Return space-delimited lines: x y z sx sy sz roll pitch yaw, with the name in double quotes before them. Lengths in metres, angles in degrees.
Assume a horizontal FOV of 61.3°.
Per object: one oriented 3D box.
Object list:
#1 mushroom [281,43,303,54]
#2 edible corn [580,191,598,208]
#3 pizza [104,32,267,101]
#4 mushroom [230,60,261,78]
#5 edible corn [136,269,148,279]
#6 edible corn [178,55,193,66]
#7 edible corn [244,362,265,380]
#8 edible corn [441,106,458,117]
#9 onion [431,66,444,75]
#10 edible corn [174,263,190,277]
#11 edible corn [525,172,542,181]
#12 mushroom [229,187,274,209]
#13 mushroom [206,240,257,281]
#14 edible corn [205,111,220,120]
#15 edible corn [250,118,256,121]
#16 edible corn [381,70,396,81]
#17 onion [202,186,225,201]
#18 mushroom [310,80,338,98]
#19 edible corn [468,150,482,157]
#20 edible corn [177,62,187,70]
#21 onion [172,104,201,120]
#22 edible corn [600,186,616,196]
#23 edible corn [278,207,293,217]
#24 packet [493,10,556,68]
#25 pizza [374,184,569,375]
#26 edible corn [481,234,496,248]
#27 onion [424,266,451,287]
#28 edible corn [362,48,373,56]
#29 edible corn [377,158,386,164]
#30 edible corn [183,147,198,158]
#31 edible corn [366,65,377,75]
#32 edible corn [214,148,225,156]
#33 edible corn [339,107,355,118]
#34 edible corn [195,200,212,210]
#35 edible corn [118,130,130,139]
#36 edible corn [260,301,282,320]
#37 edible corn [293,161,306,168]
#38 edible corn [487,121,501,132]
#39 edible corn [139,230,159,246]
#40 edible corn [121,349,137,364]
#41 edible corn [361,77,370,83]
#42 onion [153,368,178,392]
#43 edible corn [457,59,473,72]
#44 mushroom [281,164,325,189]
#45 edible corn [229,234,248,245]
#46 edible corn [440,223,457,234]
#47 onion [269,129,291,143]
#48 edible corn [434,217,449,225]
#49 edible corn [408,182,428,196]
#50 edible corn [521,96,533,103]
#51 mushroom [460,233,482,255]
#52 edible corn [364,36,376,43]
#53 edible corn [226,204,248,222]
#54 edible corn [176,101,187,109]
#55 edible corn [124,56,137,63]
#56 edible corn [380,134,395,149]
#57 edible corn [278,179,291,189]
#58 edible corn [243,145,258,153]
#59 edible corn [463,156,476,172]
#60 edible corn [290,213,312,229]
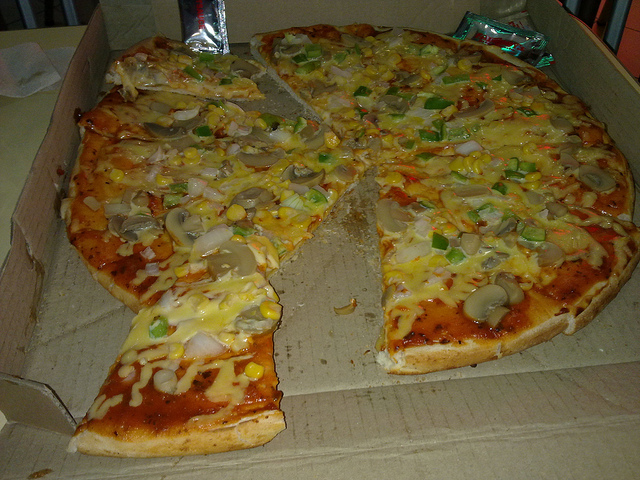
"mushroom" -0.141 -0.964 2.719 0.123 0.018 0.045 0 69 4
"edible corn" 1.023 -0.153 2.066 0.056 0.057 0.064 -9 28 44
"pizza" -0.619 -0.775 2.632 0.785 0.128 0.361 7 47 -6
"mushroom" -0.391 -0.851 2.714 0.131 0.035 0.121 38 60 8
"edible corn" -0.637 0.121 1.931 0.042 0.011 0.025 9 67 -5
"edible corn" -0.656 -0.880 2.640 0.087 0.018 0.051 1 66 -24
"edible corn" -0.212 0.416 1.733 0.058 0.038 0.050 3 41 4
"edible corn" 0.564 -0.569 2.376 0.063 0.055 0.020 -28 104 -9
"onion" 0.555 -0.807 2.576 0.057 0.015 0.040 16 77 7
"edible corn" -0.484 0.103 1.897 0.064 0.013 0.040 -1 48 -4
"edible corn" 0.831 -0.250 2.119 0.058 0.028 0.041 12 42 15
"mushroom" -0.266 -0.165 2.122 0.099 0.038 0.141 27 44 31
"mushroom" -0.309 0.068 1.899 0.193 0.048 0.126 -18 71 -14
"edible corn" -0.497 -0.552 2.410 0.061 0.014 0.033 -3 70 -2
"edible corn" -0.305 -0.545 2.442 0.033 0.005 0.019 1 45 -8
"edible corn" 0.322 -0.780 2.564 0.056 0.014 0.052 39 82 0
"onion" -0.418 -0.185 2.127 0.088 0.031 0.058 6 39 8
"mushroom" 0.012 -0.717 2.554 0.096 0.027 0.113 21 54 20
"edible corn" 0.630 -0.353 2.208 0.036 0.019 0.045 26 44 36
"edible corn" -0.672 -0.846 2.618 0.054 0.010 0.038 -6 51 -16
"onion" -0.599 -0.571 2.418 0.121 0.027 0.041 -18 77 3
"edible corn" 1.114 -0.191 2.094 0.049 0.032 0.010 -25 92 12
"edible corn" -0.137 -0.113 2.103 0.059 0.013 0.026 6 62 7
"packet" 0.976 -1.001 2.776 0.403 0.246 0.061 37 81 33
"pizza" 0.480 0.158 1.979 0.687 0.360 0.626 -6 40 -7
"edible corn" 0.620 0.003 1.974 0.064 0.013 0.038 -8 53 1
"onion" 0.417 0.126 1.904 0.070 0.028 0.083 40 76 24
"edible corn" 0.233 -0.927 2.666 0.064 0.015 0.038 -5 58 -4
"edible corn" 0.259 -0.337 2.299 0.040 0.007 0.022 2 68 3
"edible corn" -0.543 -0.366 2.252 0.072 0.026 0.047 -5 46 -10
"edible corn" 0.245 -0.813 2.589 0.061 0.014 0.047 -1 52 -2
"edible corn" -0.422 -0.368 2.264 0.040 0.010 0.034 -10 51 -11
"edible corn" 0.132 -0.581 2.468 0.089 0.019 0.053 -5 49 -4
"edible corn" -0.449 -0.134 2.084 0.060 0.017 0.042 -5 38 -7
"edible corn" -0.849 -0.459 2.343 0.031 0.012 0.049 41 54 8
"edible corn" -0.167 0.233 1.832 0.092 0.023 0.066 3 34 -27
"edible corn" -0.093 -0.313 2.247 0.032 0.007 0.035 -11 36 -35
"edible corn" 0.733 -0.484 2.297 0.058 0.023 0.048 8 65 20
"edible corn" -0.640 -0.007 2.021 0.084 0.020 0.045 10 74 3
"edible corn" -0.620 0.377 1.757 0.053 0.026 0.044 4 50 11
"edible corn" 0.213 -0.760 2.568 0.048 0.008 0.028 4 55 4
"onion" -0.486 0.436 1.697 0.099 0.039 0.055 6 73 -6
"edible corn" 0.686 -0.830 2.570 0.084 0.033 0.051 -11 62 -4
"mushroom" -0.065 -0.252 2.204 0.146 0.047 0.106 -15 48 -6
"edible corn" -0.295 0.001 1.993 0.060 0.028 0.035 25 49 -5
"edible corn" 0.474 -0.045 2.006 0.056 0.011 0.038 2 41 10
"onion" -0.178 -0.460 2.369 0.072 0.020 0.067 34 56 12
"edible corn" 0.465 -0.072 2.029 0.036 0.006 0.027 -15 43 -18
"edible corn" 0.389 -0.205 2.154 0.061 0.013 0.059 31 56 34
"edible corn" 0.913 -0.624 2.395 0.048 0.010 0.033 1 38 -22
"mushroom" 0.541 0.015 1.935 0.093 0.021 0.068 7 58 12
"edible corn" 0.251 -1.016 2.744 0.077 0.013 0.045 -2 56 7
"edible corn" -0.320 -0.103 2.036 0.091 0.040 0.051 -2 75 1
"edible corn" -0.633 -0.614 2.467 0.047 0.021 0.034 -2 46 -1
"edible corn" -0.877 -0.834 2.505 0.049 0.010 0.045 30 54 26
"edible corn" 0.276 -0.426 2.330 0.084 0.020 0.050 -2 82 6
"edible corn" -0.143 -0.227 2.172 0.055 0.015 0.030 -9 80 9
"edible corn" -0.296 -0.384 2.294 0.061 0.015 0.031 3 46 -22
"edible corn" 0.596 -0.306 2.182 0.072 0.025 0.053 -15 64 -1
"edible corn" -0.069 -0.078 2.104 0.090 0.039 0.059 -26 47 -28
